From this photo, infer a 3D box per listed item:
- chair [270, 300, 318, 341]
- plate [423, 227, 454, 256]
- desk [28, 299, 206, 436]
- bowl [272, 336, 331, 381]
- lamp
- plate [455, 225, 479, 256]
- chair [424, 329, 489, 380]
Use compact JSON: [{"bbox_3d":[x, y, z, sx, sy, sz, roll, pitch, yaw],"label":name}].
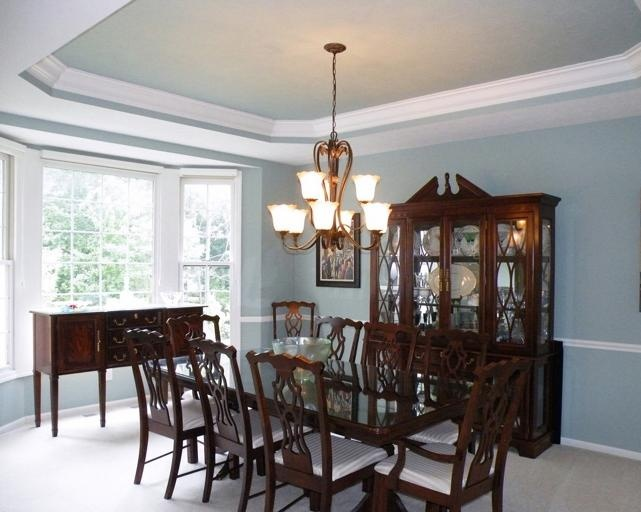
[{"bbox_3d":[-0.342,0.764,6.077,0.460,0.737,0.509,0,-8,3],"label":"chair"},{"bbox_3d":[1.104,-0.138,4.773,0.254,0.259,0.061,-16,-7,42],"label":"plate"},{"bbox_3d":[-2.103,1.132,5.315,0.544,1.075,1.705,-5,-4,37],"label":"desk"},{"bbox_3d":[-0.137,0.718,3.633,0.336,0.207,0.337,0,-5,0],"label":"bowl"},{"bbox_3d":[0.100,-0.824,3.575,0.940,1.513,0.914,0,1,-35],"label":"lamp"},{"bbox_3d":[1.356,-0.149,4.535,0.166,0.303,0.257,8,-9,-42],"label":"plate"},{"bbox_3d":[1.095,0.786,3.933,0.290,0.471,0.498,4,-6,-30],"label":"chair"}]
